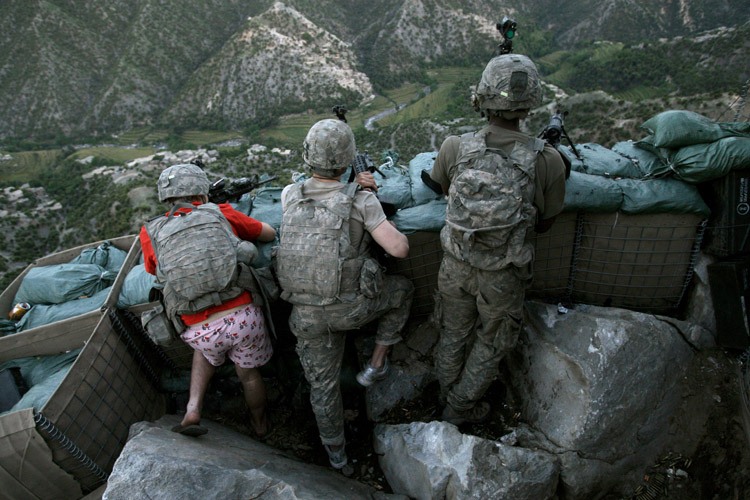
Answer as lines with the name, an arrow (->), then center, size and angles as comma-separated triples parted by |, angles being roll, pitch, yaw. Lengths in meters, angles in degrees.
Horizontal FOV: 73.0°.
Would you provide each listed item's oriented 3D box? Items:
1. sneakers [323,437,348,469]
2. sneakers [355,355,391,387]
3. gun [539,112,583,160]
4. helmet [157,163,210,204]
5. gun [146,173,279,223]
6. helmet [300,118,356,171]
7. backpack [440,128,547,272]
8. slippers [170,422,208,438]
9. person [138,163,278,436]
sneakers -> -0.355, 1.943, 4.902 | 0.193, 0.292, 0.298 | -8, -11, -2
sneakers -> -0.024, 1.219, 5.098 | 0.378, 0.196, 0.162 | -35, -24, 20
gun -> 1.937, -1.232, 5.376 | 0.421, 0.265, 0.686 | -10, 31, 25
helmet -> -1.793, -0.622, 4.864 | 0.419, 0.336, 0.469 | -9, -9, 38
gun -> -1.731, -0.766, 6.014 | 0.292, 0.468, 1.100 | 26, 45, 28
helmet -> -0.381, -0.927, 4.694 | 0.449, 0.366, 0.478 | 25, 38, 24
backpack -> 1.027, -0.439, 4.503 | 0.844, 1.147, 0.474 | -1, 17, 16
slippers -> -1.668, 1.605, 4.559 | 0.287, 0.136, 0.077 | -1, 11, -6
person -> -1.486, 0.609, 4.755 | 1.087, 2.698, 0.828 | -12, 17, -18
